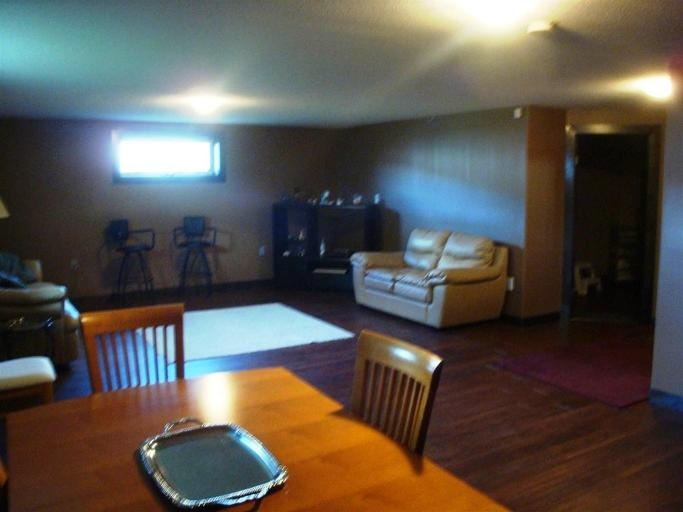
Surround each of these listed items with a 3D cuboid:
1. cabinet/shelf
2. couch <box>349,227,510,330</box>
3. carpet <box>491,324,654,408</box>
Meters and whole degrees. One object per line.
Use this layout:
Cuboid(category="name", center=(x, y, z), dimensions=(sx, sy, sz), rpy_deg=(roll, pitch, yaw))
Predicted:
Cuboid(category="cabinet/shelf", center=(-0.191, -0.122, 7.840), dimensions=(1.359, 1.170, 0.497), rpy_deg=(0, 2, 17))
Cuboid(category="couch", center=(1.108, 0.228, 6.386), dimensions=(1.089, 0.990, 1.616), rpy_deg=(-8, 12, -36))
Cuboid(category="carpet", center=(2.362, 0.955, 4.968), dimensions=(1.135, 0.061, 2.200), rpy_deg=(6, 11, 33))
